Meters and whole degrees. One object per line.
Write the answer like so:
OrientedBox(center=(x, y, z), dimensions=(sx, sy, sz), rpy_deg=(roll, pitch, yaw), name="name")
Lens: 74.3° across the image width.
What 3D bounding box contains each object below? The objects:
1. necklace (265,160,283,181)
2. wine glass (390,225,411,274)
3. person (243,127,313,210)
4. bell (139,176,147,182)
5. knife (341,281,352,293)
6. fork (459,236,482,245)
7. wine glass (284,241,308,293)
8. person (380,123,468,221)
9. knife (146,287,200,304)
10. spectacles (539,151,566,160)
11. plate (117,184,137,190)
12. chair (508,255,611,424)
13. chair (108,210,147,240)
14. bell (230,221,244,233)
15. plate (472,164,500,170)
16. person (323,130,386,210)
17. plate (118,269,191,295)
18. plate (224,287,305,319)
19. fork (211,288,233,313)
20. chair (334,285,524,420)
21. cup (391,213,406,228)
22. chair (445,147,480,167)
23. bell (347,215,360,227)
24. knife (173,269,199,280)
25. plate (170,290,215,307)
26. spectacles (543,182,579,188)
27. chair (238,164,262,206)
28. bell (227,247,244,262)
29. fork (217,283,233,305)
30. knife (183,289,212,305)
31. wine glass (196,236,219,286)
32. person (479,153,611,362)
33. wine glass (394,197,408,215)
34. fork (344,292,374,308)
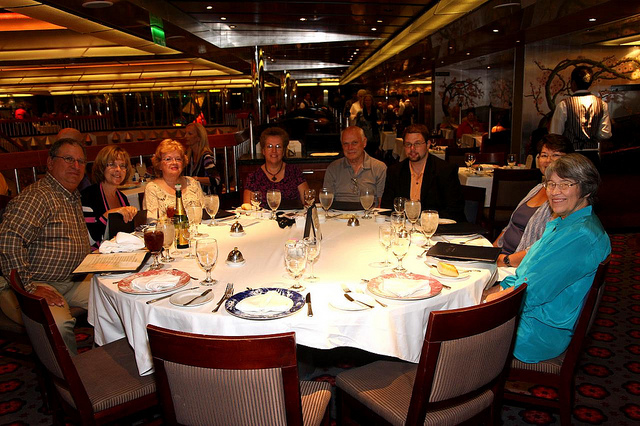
OrientedBox(center=(-0.485, -0.447, 4.517), dimensions=(0.192, 0.198, 0.085), rpy_deg=(-5, 12, -7), name="necklace")
OrientedBox(center=(0.496, 0.223, 2.609), dimensions=(0.118, 0.246, 0.347), rpy_deg=(-2, 12, 10), name="wine glass")
OrientedBox(center=(-0.474, -0.411, 4.444), dimensions=(0.739, 0.956, 0.675), rpy_deg=(-6, 11, -12), name="person")
OrientedBox(center=(-2.617, -0.491, 6.244), dimensions=(0.090, 0.088, 0.091), rpy_deg=(30, 36, 33), name="bell")
OrientedBox(center=(0.146, 0.413, 2.339), dimensions=(0.022, 0.012, 0.073), rpy_deg=(-4, 23, -22), name="knife")
OrientedBox(center=(1.080, 0.199, 3.030), dimensions=(0.143, 0.022, 0.021), rpy_deg=(-13, 10, -29), name="fork")
OrientedBox(center=(-0.130, 0.284, 2.417), dimensions=(0.128, 0.278, 0.283), rpy_deg=(-5, 12, -4), name="wine glass")
OrientedBox(center=(1.008, -0.305, 4.354), dimensions=(0.816, 1.135, 0.737), rpy_deg=(2, 15, 36), name="person")
OrientedBox(center=(-0.806, 0.455, 2.429), dimensions=(0.045, 0.034, 0.404), rpy_deg=(14, 16, 33), name="knife")
OrientedBox(center=(2.033, -0.516, 3.762), dimensions=(0.089, 0.072, 0.246), rpy_deg=(-7, 12, -16), name="spectacles")
OrientedBox(center=(-2.610, -0.359, 5.737), dimensions=(0.231, 0.054, 0.261), rpy_deg=(-7, 12, -16), name="plate")
OrientedBox(center=(1.528, 0.841, 2.785), dimensions=(0.497, 1.304, 0.961), rpy_deg=(2, 13, 25), name="chair")
OrientedBox(center=(-1.629, 0.093, 3.569), dimensions=(0.293, 0.216, 0.202), rpy_deg=(-2, -2, -22), name="chair")
OrientedBox(center=(-0.634, 0.111, 3.251), dimensions=(0.079, 0.077, 0.080), rpy_deg=(12, 20, 31), name="bell")
OrientedBox(center=(2.580, -0.707, 6.464), dimensions=(0.261, 0.062, 0.259), rpy_deg=(1, 9, -3), name="plate")
OrientedBox(center=(0.395, -0.450, 4.732), dimensions=(0.791, 0.972, 0.518), rpy_deg=(3, 19, 17), name="person")
OrientedBox(center=(-0.961, 0.396, 2.472), dimensions=(0.405, 0.057, 0.405), rpy_deg=(-1, 11, -11), name="plate")
OrientedBox(center=(-0.291, 0.469, 2.238), dimensions=(0.415, 0.083, 0.260), rpy_deg=(-4, 11, -3), name="plate")
OrientedBox(center=(-0.515, 0.457, 2.278), dimensions=(0.028, 0.032, 0.212), rpy_deg=(1, 36, 23), name="fork")
OrientedBox(center=(0.545, 0.711, 2.167), dimensions=(0.512, 0.919, 0.546), rpy_deg=(-15, 28, -30), name="chair")
OrientedBox(center=(0.528, 0.046, 2.838), dimensions=(0.106, 0.109, 0.109), rpy_deg=(-2, 8, 0), name="cup")
OrientedBox(center=(2.633, -1.080, 7.991), dimensions=(0.454, 0.317, 1.074), rpy_deg=(2, 13, 26), name="chair")
OrientedBox(center=(0.271, 0.071, 3.406), dimensions=(0.070, 0.072, 0.069), rpy_deg=(2, 5, 21), name="bell")
OrientedBox(center=(-0.818, 0.371, 2.564), dimensions=(0.205, 0.041, 0.034), rpy_deg=(5, 15, 36), name="knife")
OrientedBox(center=(-0.696, 0.460, 2.289), dimensions=(0.212, 0.041, 0.187), rpy_deg=(-12, 14, -35), name="plate")
OrientedBox(center=(1.471, -0.173, 2.581), dimensions=(0.173, 0.033, 0.053), rpy_deg=(8, 16, 44), name="spectacles")
OrientedBox(center=(-1.013, -0.382, 6.195), dimensions=(0.352, 0.628, 1.815), rpy_deg=(-6, 12, -10), name="chair")
OrientedBox(center=(-0.548, 0.266, 2.717), dimensions=(0.078, 0.054, 0.078), rpy_deg=(9, 17, 31), name="bell")
OrientedBox(center=(-0.514, 0.441, 2.307), dimensions=(0.020, 0.017, 0.154), rpy_deg=(3, 45, 22), name="fork")
OrientedBox(center=(-0.661, 0.459, 2.283), dimensions=(0.135, 0.009, 0.014), rpy_deg=(-25, 61, -35), name="knife")
OrientedBox(center=(-0.663, 0.276, 2.487), dimensions=(0.118, 0.266, 0.278), rpy_deg=(-8, 12, -17), name="wine glass")
OrientedBox(center=(1.428, 0.378, 2.760), dimensions=(0.780, 1.394, 0.661), rpy_deg=(7, 12, 23), name="person")
OrientedBox(center=(0.607, -0.048, 3.200), dimensions=(0.114, 0.168, 0.108), rpy_deg=(-1, 16, 4), name="wine glass")
OrientedBox(center=(0.202, 0.449, 2.236), dimensions=(0.028, 0.025, 0.203), rpy_deg=(-36, 41, -27), name="fork")
